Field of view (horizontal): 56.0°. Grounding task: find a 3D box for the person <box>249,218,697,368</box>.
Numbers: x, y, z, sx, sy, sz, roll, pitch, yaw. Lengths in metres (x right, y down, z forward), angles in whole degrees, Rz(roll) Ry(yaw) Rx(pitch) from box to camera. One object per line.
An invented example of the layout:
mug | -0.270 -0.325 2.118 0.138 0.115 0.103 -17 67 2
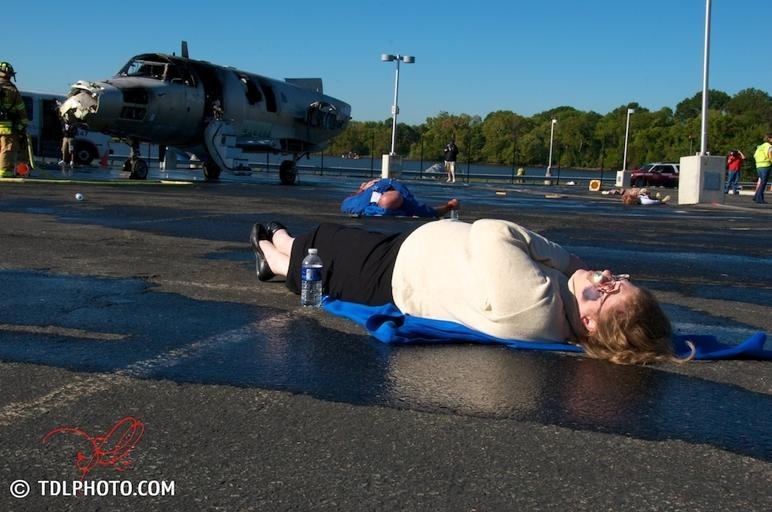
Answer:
person | 0.561 0.104 5.134 3.156 0.756 0.990 5 1 22

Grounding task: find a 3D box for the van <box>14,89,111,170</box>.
van | -11.947 -4.679 26.864 5.314 2.323 1.676 6 19 26

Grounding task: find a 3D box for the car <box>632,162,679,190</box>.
car | 15.672 -4.632 41.621 1.305 1.382 3.510 0 11 -13

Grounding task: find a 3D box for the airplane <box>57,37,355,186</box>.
airplane | -5.501 -4.117 22.511 5.641 3.268 10.615 4 3 36

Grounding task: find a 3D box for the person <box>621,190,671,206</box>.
person | 7.457 -1.583 20.089 1.407 0.341 0.756 0 6 -23

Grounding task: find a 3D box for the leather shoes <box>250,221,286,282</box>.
leather shoes | -1.019 -0.047 6.022 0.254 0.532 0.160 -5 -10 4
